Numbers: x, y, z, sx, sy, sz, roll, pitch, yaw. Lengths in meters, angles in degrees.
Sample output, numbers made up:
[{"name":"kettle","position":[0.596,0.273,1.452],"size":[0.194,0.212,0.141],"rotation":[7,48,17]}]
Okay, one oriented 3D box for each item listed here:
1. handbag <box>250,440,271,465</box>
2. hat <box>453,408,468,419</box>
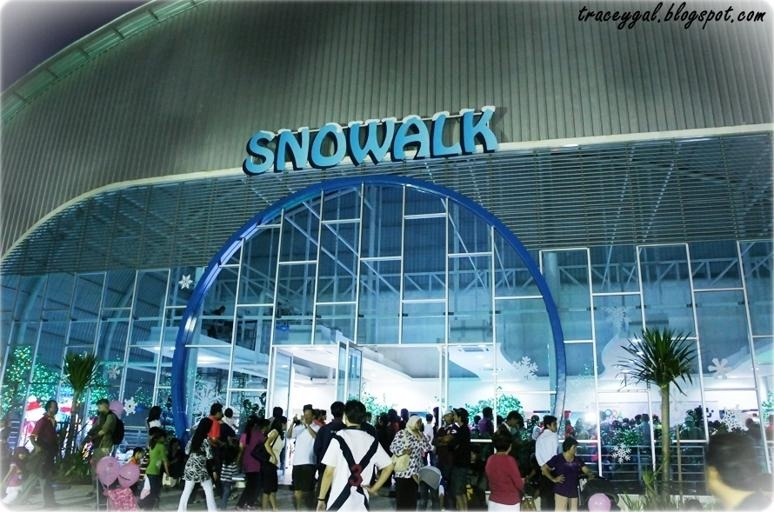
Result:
[{"name":"handbag","position":[-2.417,3.801,10.495],"size":[0.380,0.367,0.147],"rotation":[-16,-6,20]},{"name":"hat","position":[1.444,3.056,10.532],"size":[0.251,0.177,0.200],"rotation":[8,-2,-4]}]
